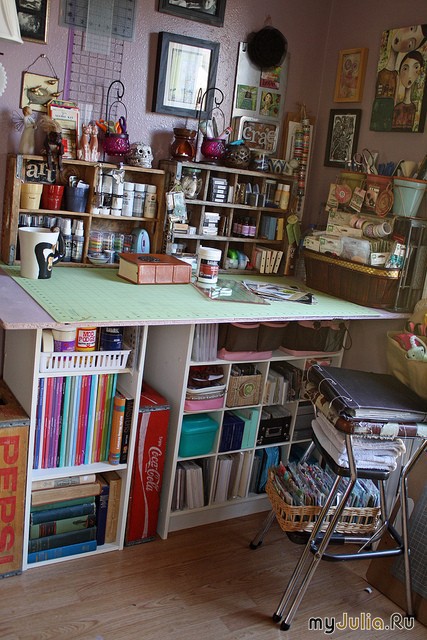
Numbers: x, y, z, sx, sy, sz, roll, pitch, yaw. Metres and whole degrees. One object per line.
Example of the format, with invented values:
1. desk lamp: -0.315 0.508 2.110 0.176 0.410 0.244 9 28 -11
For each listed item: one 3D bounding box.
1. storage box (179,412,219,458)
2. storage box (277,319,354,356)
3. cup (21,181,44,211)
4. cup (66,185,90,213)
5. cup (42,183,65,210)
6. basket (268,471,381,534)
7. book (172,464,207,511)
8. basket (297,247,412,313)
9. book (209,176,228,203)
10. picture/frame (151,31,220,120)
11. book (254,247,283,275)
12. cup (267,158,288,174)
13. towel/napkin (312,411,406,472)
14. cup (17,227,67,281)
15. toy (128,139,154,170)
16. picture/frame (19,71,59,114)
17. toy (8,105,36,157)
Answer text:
1. storage box: -0.078 0.449 1.836 0.170 0.132 0.175 12 -7 -8
2. storage box: 0.457 0.057 2.006 0.259 0.190 0.152 -5 17 -29
3. cup: -0.694 -0.497 1.876 0.097 0.105 0.098 7 18 -2
4. cup: -0.561 -0.494 1.924 0.111 0.121 0.111 5 19 -2
5. cup: -0.643 -0.490 1.883 0.099 0.107 0.099 6 20 -2
6. basket: 0.349 0.574 1.491 0.251 0.079 0.196 3 3 -8
7. book: -0.102 0.658 1.915 0.149 0.207 0.211 -1 10 -9
8. basket: 0.604 -0.162 2.064 0.265 0.157 0.458 11 12 -28
9. book: 0.028 -0.610 2.261 0.104 0.145 0.148 5 17 2
10. picture/frame: -0.119 -1.138 2.188 0.335 0.329 0.035 22 23 27
11. book: 0.284 -0.304 2.432 0.117 0.052 0.152 7 12 -8
12. cup: 0.329 -0.790 2.423 0.096 0.072 0.088 -1 17 0
13. towel/napkin: 0.423 0.379 1.348 0.196 0.074 0.200 6 10 -13
14. cup: -0.608 -0.236 1.647 0.173 0.180 0.142 -3 14 -32
15. toy: -0.320 -0.718 2.055 0.094 0.094 0.119 -4 21 -30
16. picture/frame: -0.694 -0.901 1.857 0.187 0.176 0.026 -17 31 -42
17. toy: -0.734 -0.736 1.840 0.103 0.148 0.122 6 3 -42
